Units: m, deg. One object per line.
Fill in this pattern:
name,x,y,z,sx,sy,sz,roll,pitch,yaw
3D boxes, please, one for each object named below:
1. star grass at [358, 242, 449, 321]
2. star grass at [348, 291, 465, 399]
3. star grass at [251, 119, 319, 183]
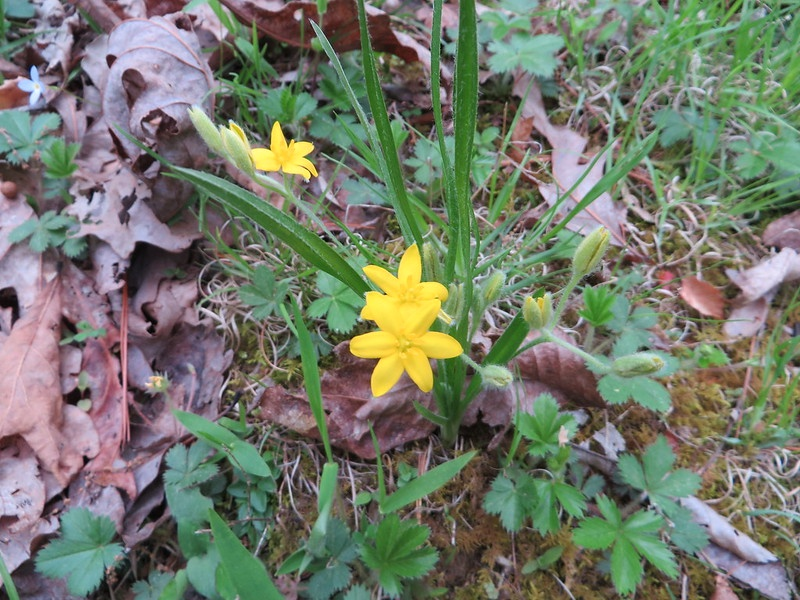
star grass,0.048,-0.001,2.742,0.352,0.406,0.125,-14,43,26
star grass,-0.013,0.196,2.582,0.487,0.097,0.481,1,47,29
star grass,-0.487,-0.655,2.948,0.334,0.310,0.158,-6,77,49
